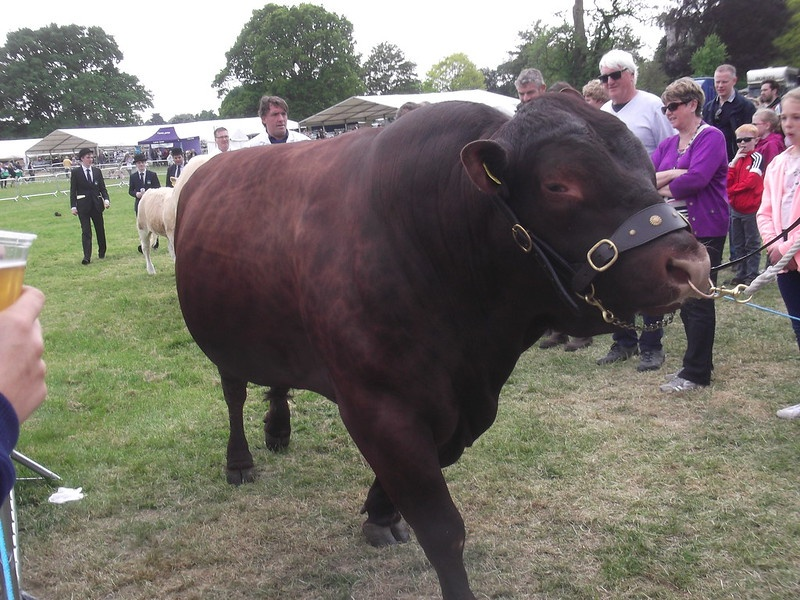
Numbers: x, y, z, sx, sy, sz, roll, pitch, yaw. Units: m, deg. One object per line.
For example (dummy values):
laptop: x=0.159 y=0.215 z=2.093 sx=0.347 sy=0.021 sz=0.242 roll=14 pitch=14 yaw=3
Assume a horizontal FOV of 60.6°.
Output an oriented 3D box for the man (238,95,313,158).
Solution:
man: x=-1.290 y=-1.775 z=7.040 sx=0.726 sy=0.658 sz=0.431 roll=-11 pitch=16 yaw=-18

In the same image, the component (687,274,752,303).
component: x=2.084 y=-0.068 z=4.432 sx=0.437 sy=0.083 sz=0.263 roll=11 pitch=30 yaw=5

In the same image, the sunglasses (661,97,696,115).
sunglasses: x=2.323 y=-1.612 z=5.684 sx=0.165 sy=0.053 sz=0.160 roll=-9 pitch=1 yaw=-24

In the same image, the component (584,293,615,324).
component: x=0.920 y=0.034 z=3.187 sx=0.030 sy=0.199 sz=0.082 roll=-50 pitch=14 yaw=-17
